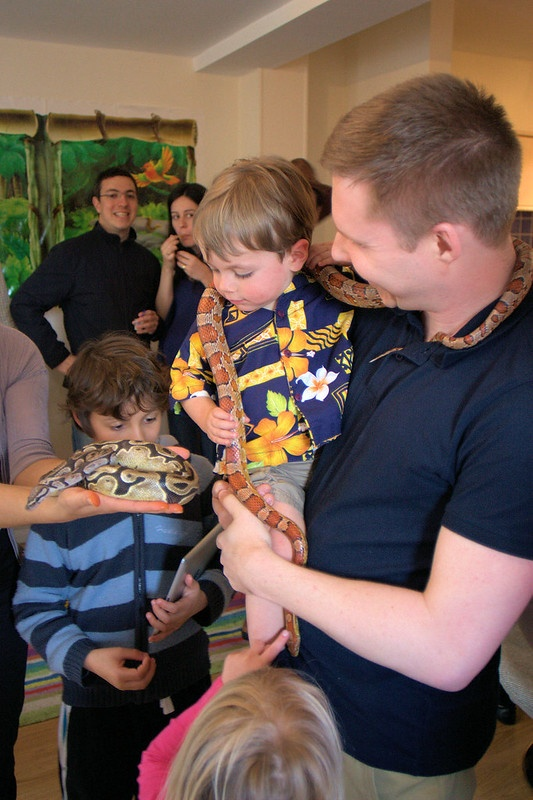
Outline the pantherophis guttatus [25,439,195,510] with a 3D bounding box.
[{"bbox_3d":[-0.474,0.245,1.998,0.589,0.143,0.319,-4,22,-35],"label":"pantherophis guttatus"}]
